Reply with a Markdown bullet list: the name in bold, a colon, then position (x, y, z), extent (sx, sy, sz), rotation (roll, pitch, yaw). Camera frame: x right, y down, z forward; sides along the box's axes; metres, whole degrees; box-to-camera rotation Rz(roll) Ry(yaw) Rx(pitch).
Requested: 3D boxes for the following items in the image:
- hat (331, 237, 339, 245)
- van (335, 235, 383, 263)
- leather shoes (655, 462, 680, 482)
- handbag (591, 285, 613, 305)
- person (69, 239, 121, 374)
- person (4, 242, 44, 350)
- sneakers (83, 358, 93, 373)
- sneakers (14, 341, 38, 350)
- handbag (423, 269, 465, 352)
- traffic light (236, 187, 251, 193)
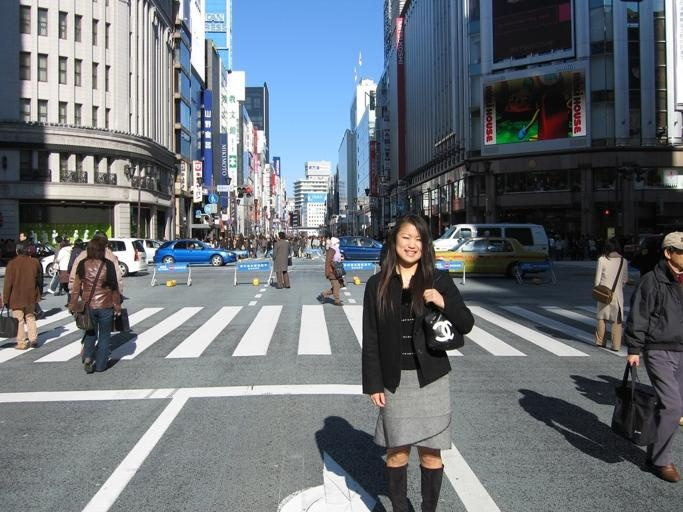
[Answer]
- **hat**: position (-0.216, -0.367, 16.836), extent (0.283, 0.352, 0.180), rotation (3, 14, 14)
- **van**: position (1.238, -0.374, 33.909), extent (2.627, 1.196, 1.279), rotation (-1, 4, -5)
- **leather shoes**: position (2.959, 1.955, 4.896), extent (0.091, 0.113, 0.248), rotation (-5, -10, 8)
- **handbag**: position (4.596, 0.690, 9.527), extent (0.204, 0.307, 0.306), rotation (-6, 6, -42)
- **person**: position (-3.850, 0.753, 8.450), extent (0.717, 2.096, 0.529), rotation (-3, 4, -21)
- **person**: position (-5.924, 0.771, 10.057), extent (0.657, 1.990, 1.018), rotation (-4, 5, -32)
- **sneakers**: position (-3.884, 1.680, 8.322), extent (0.134, 0.233, 0.230), rotation (-3, 5, -20)
- **sneakers**: position (-5.948, 1.695, 10.200), extent (0.338, 0.187, 0.129), rotation (4, 1, 0)
- **handbag**: position (0.762, 0.550, 4.015), extent (0.307, 0.372, 0.201), rotation (-2, 4, 2)
- **traffic light**: position (-9.868, -6.728, 55.102), extent (0.941, 0.473, 1.062), rotation (6, 9, 44)
